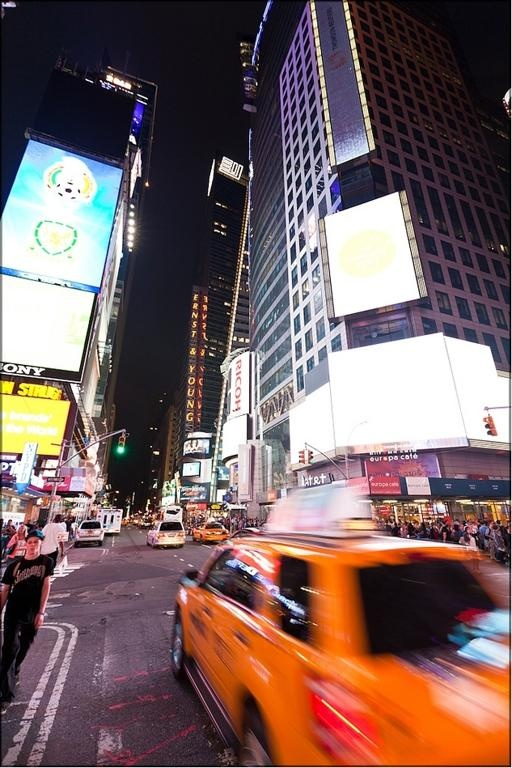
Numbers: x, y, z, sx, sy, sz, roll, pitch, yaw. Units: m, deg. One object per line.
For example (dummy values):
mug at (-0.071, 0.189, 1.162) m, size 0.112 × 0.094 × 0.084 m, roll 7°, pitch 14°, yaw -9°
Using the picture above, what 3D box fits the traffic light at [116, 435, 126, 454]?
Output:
traffic light at (-8.981, 4.018, 28.663) m, size 0.401 × 1.316 × 1.440 m, roll 3°, pitch -16°, yaw -26°

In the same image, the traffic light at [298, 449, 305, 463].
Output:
traffic light at (2.848, 4.568, 27.560) m, size 0.329 × 0.737 × 0.846 m, roll -4°, pitch -14°, yaw 3°

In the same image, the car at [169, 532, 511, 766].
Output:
car at (0.459, 1.731, 3.588) m, size 1.347 × 1.260 × 3.268 m, roll 8°, pitch -20°, yaw -14°

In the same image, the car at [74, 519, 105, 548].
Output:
car at (-10.205, 9.173, 26.547) m, size 1.506 × 1.559 × 1.732 m, roll 1°, pitch -15°, yaw -19°
